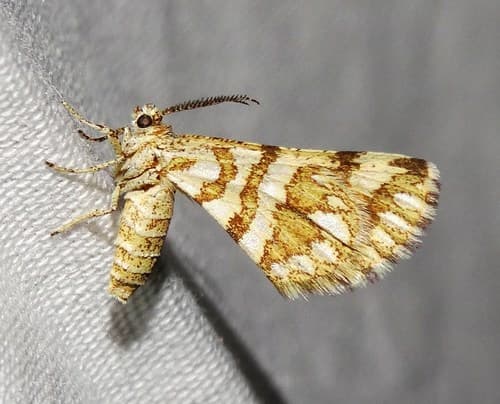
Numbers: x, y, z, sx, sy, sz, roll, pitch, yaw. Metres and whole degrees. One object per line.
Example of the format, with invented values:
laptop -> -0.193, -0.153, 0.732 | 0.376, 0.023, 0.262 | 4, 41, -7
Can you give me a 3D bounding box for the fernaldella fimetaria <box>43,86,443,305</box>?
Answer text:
fernaldella fimetaria -> 0.009, -0.010, 1.254 | 0.721, 0.170, 0.411 | -1, 79, -2
